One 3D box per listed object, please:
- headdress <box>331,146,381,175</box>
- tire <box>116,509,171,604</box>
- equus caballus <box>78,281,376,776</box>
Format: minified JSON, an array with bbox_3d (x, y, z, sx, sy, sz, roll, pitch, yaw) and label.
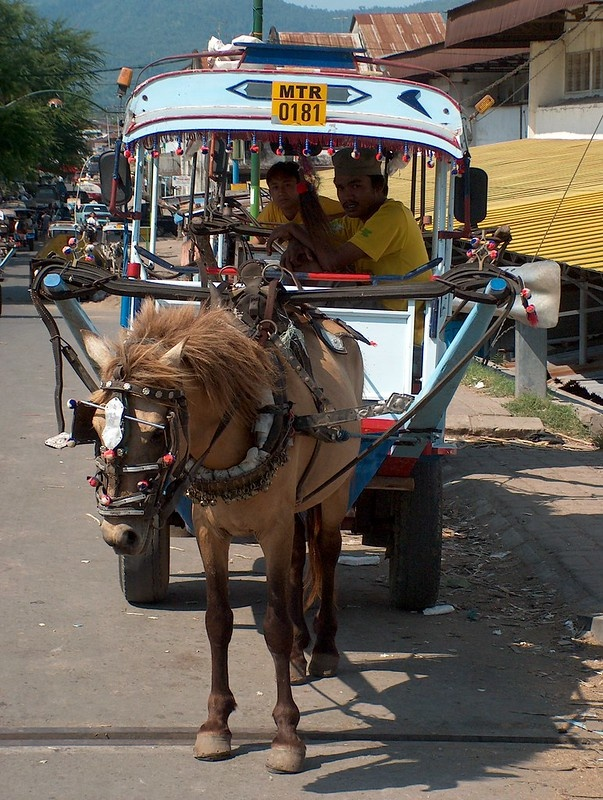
[{"bbox_3d":[0.283,-1.203,5.207,0.226,0.116,0.226,-1,6,3],"label":"headdress"},{"bbox_3d":[-0.855,0.704,5.103,0.238,0.524,0.593,-2,4,-11],"label":"tire"},{"bbox_3d":[-0.198,0.450,3.591,0.782,1.593,1.564,7,9,14],"label":"equus caballus"}]
